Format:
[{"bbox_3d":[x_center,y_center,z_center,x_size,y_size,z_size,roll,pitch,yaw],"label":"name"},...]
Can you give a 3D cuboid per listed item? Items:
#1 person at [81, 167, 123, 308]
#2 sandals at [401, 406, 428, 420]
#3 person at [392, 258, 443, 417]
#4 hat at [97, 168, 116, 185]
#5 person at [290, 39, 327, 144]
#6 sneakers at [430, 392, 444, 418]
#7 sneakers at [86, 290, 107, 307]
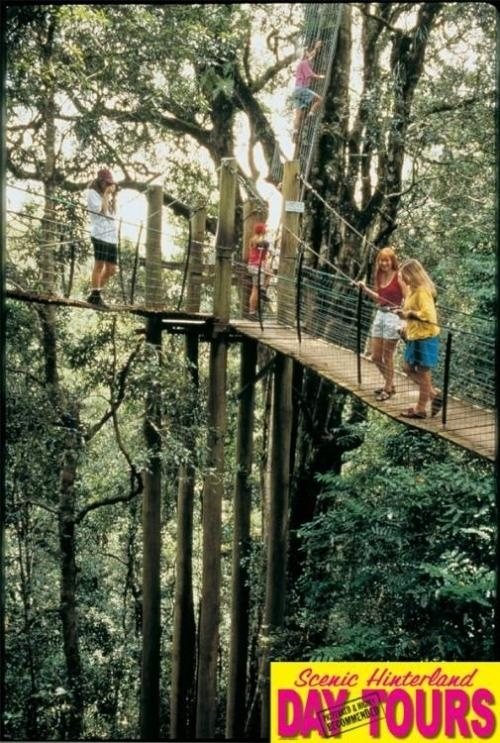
[{"bbox_3d":[-1.366,-1.265,8.917,0.297,1.411,0.667,4,-5,-9],"label":"person"},{"bbox_3d":[1.179,0.301,7.111,0.080,0.073,0.200,-7,12,-44],"label":"sandals"},{"bbox_3d":[1.226,-0.226,7.079,0.339,1.155,0.492,2,-5,11],"label":"person"},{"bbox_3d":[-1.320,-1.787,8.948,0.141,0.134,0.209,-11,16,-33],"label":"hat"},{"bbox_3d":[0.649,-3.277,11.029,0.329,1.217,0.908,3,-5,3],"label":"person"},{"bbox_3d":[1.370,0.244,7.206,0.066,0.216,0.089,9,-13,-1],"label":"sneakers"},{"bbox_3d":[-1.397,-0.652,8.836,0.140,0.180,0.274,5,-6,-12],"label":"sneakers"}]
